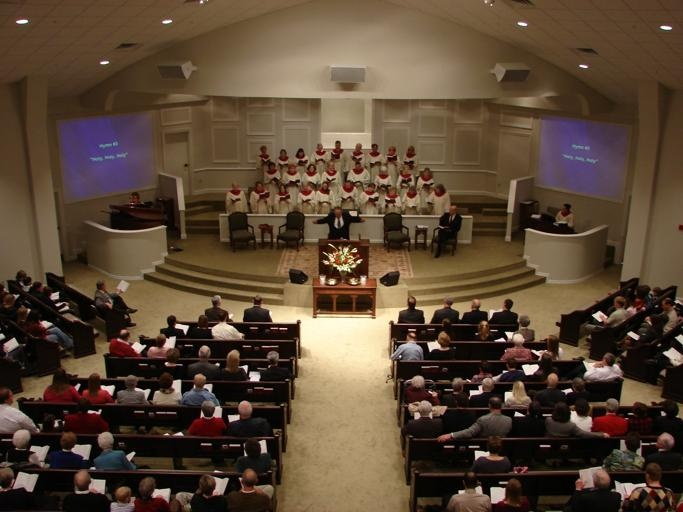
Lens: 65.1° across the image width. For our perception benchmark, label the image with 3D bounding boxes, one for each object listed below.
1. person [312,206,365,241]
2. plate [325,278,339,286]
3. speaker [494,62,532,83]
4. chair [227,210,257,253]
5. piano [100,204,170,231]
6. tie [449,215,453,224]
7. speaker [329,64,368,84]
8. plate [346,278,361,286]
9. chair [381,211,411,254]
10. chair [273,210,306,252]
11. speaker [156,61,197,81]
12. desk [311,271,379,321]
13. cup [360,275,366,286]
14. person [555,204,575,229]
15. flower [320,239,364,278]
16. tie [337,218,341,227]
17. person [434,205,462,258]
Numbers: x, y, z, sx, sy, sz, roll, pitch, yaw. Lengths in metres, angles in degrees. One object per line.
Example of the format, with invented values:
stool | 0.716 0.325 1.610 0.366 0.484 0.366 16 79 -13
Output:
person | -0.071 -0.968 14.728 0.825 1.153 0.455 0 45 3
plate | -0.243 0.601 12.650 0.268 0.128 0.339 0 8 -2
speaker | 4.379 -4.741 13.825 0.959 0.478 0.460 -2 11 -4
chair | -2.886 -0.698 15.150 0.803 0.931 0.792 15 22 37
piano | -5.911 -1.115 15.363 1.253 0.513 0.906 1 11 9
tie | 3.039 -1.023 14.939 0.117 0.162 0.040 -3 -11 40
speaker | 0.155 -4.800 14.318 0.760 0.335 0.521 -1 6 -3
plate | 0.272 0.600 12.664 0.292 0.134 0.321 0 8 -1
chair | 1.532 -0.692 15.190 0.688 0.960 0.718 -3 17 -4
chair | -1.408 -0.762 15.531 0.802 0.995 0.811 7 -5 25
speaker | -4.329 -4.822 13.869 1.204 0.603 0.600 2 18 -6
desk | 0.069 0.606 12.795 1.674 0.808 0.901 0 20 1
cup | 0.498 0.569 12.691 0.164 0.183 0.156 -1 -1 0
person | 6.645 -1.205 15.994 0.468 0.722 0.811 3 8 20
flower | -0.138 0.187 12.792 0.753 0.815 0.742 -2 13 -2
tie | -0.050 -0.894 14.631 0.147 0.220 0.045 -3 8 -24
person | 3.014 -0.713 15.214 0.731 1.431 0.856 2 8 12
